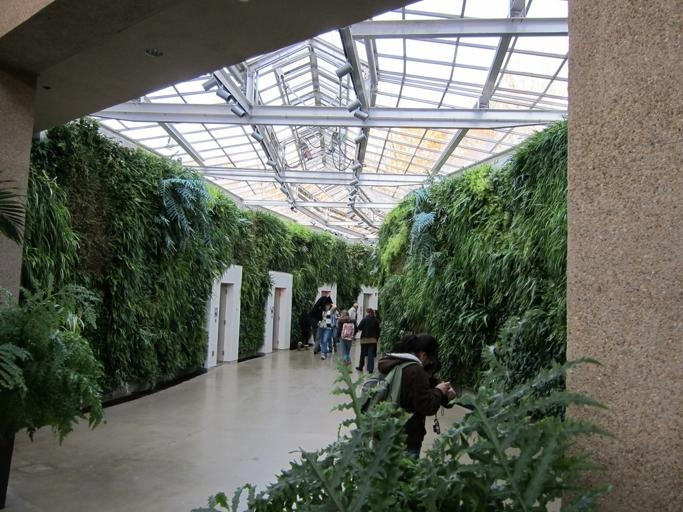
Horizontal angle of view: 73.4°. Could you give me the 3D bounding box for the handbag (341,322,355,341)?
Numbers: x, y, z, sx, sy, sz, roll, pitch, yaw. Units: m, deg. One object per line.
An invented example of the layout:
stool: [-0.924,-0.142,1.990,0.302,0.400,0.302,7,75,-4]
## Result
handbag: [0.154,2.014,12.156,0.377,0.281,0.532,5,33,1]
